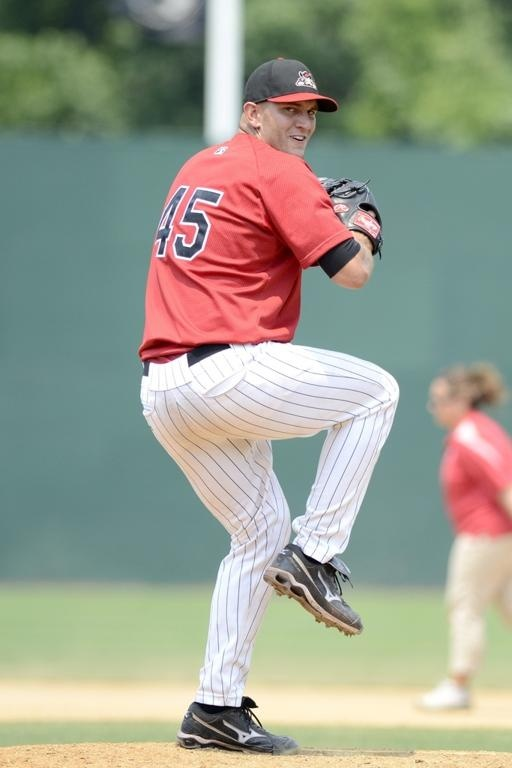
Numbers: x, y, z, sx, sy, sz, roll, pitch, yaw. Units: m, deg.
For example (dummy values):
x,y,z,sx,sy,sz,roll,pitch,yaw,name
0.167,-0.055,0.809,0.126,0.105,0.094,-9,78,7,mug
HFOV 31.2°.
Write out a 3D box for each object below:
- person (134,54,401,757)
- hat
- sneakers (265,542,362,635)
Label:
x,y,z,sx,sy,sz,roll,pitch,yaw,name
0.030,0.091,2.301,0.619,1.698,0.681,-4,24,-7,person
0.073,-0.729,2.294,0.211,0.114,0.141,7,9,38,hat
0.136,0.494,2.230,0.231,0.251,0.186,-1,23,0,sneakers
